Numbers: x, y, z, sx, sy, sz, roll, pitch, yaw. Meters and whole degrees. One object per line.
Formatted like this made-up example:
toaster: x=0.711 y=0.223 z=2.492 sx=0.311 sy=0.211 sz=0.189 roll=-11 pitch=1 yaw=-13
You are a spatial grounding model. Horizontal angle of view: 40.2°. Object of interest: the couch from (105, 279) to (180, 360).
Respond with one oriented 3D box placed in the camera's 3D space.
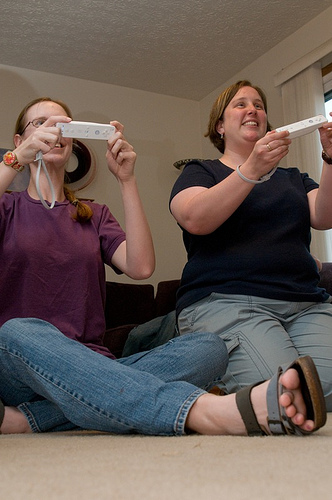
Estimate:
couch: x=-0.147 y=0.353 z=2.651 sx=0.617 sy=0.361 sz=0.305 roll=0 pitch=-8 yaw=-15
